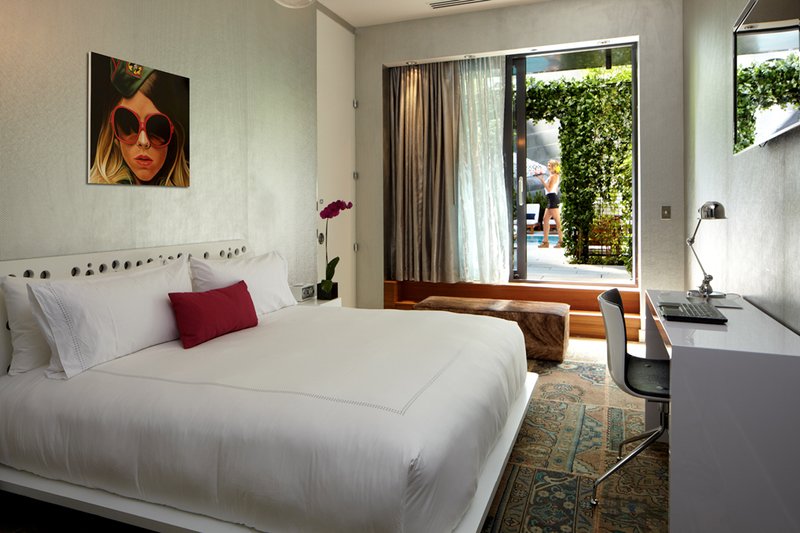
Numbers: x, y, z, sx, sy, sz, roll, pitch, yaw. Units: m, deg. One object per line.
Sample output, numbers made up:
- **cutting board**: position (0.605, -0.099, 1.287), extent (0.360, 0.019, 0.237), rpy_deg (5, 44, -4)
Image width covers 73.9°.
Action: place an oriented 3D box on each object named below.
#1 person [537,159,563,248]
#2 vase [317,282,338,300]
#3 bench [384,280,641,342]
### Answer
- **person**: position (1.960, -0.812, 6.906), extent (0.269, 1.117, 0.104), rpy_deg (-1, 8, 18)
- **vase**: position (-0.700, 0.239, 5.162), extent (0.158, 0.177, 0.170), rpy_deg (-1, -1, 42)
- **bench**: position (1.262, 0.527, 6.059), extent (2.725, 0.624, 0.496), rpy_deg (2, -2, 16)
